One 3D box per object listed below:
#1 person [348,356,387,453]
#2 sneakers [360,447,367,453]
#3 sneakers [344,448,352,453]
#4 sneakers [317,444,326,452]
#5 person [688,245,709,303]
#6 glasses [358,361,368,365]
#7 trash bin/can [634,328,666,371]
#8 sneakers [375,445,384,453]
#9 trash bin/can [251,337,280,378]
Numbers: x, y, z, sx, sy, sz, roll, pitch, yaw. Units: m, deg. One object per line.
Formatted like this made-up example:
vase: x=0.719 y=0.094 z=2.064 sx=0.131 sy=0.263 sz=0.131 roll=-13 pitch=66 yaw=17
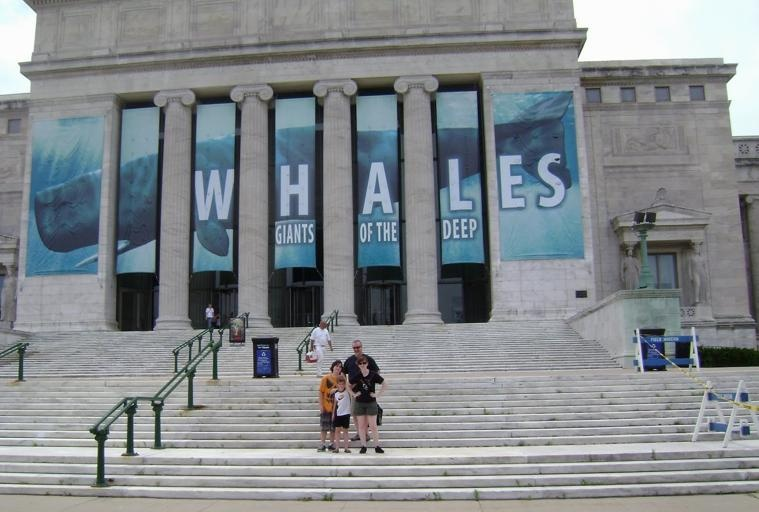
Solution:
person: x=-0.386 y=4.186 z=21.270 sx=0.914 sy=2.741 sz=0.605 roll=-2 pitch=-12 yaw=-3
sneakers: x=-0.451 y=5.481 z=21.206 sx=0.150 sy=0.158 sz=0.265 roll=0 pitch=-14 yaw=-1
sneakers: x=-0.870 y=5.490 z=21.279 sx=0.160 sy=0.135 sz=0.329 roll=-6 pitch=-11 yaw=20
sneakers: x=-1.670 y=5.509 z=21.554 sx=0.237 sy=0.173 sz=0.381 roll=-1 pitch=-11 yaw=-5
person: x=17.157 y=0.947 z=40.434 sx=0.849 sy=3.212 sz=0.786 roll=-7 pitch=-13 yaw=20
glasses: x=-0.477 y=3.030 z=21.265 sx=0.285 sy=0.152 sz=0.092 roll=-3 pitch=-12 yaw=7
trash bin/can: x=9.994 y=3.420 z=27.522 sx=1.174 sy=1.525 sz=0.453 roll=0 pitch=-12 yaw=-11
sneakers: x=-0.002 y=5.461 z=21.203 sx=0.251 sy=0.190 sz=0.268 roll=-2 pitch=-11 yaw=-1
trash bin/can: x=-4.258 y=3.796 z=27.915 sx=0.922 sy=1.444 sz=0.788 roll=0 pitch=-12 yaw=-12
